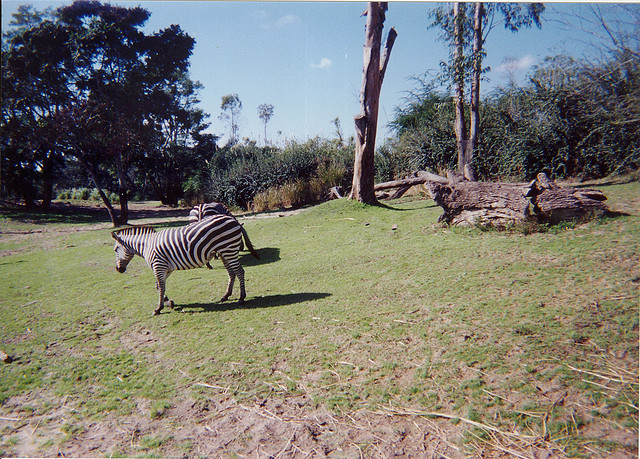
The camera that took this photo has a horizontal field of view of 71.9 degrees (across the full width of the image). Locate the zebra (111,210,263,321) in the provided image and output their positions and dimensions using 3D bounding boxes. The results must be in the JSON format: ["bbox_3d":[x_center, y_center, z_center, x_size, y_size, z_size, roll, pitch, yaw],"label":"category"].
[{"bbox_3d":[-2.180,0.576,7.122,2.272,1.635,0.656,-9,17,1],"label":"zebra"}]
